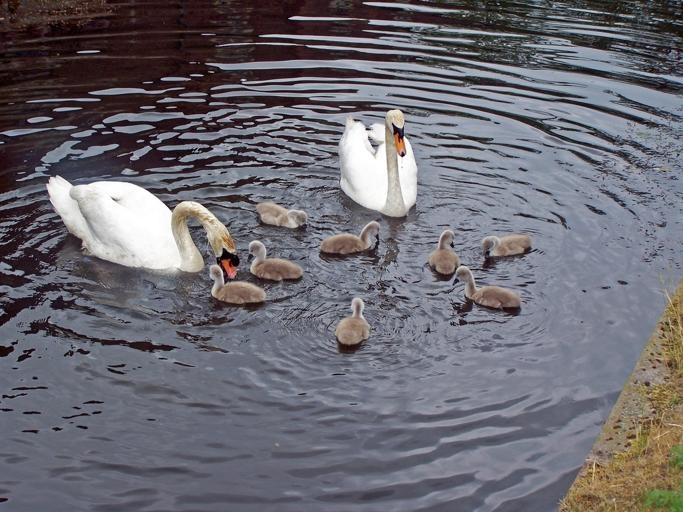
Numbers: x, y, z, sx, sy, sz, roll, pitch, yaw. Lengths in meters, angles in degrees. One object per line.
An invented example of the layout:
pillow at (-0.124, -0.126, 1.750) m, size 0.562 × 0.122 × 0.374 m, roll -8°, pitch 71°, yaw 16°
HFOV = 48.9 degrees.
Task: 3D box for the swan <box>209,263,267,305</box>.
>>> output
swan at (-1.666, 0.465, 12.055) m, size 0.935 × 0.423 × 1.139 m, roll -4°, pitch 22°, yaw -10°

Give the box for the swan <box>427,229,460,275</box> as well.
swan at (1.742, -0.071, 12.804) m, size 0.730 × 0.538 × 0.822 m, roll 2°, pitch 39°, yaw 3°

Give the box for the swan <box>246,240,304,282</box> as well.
swan at (-1.229, 0.087, 12.598) m, size 1.323 × 0.510 × 0.510 m, roll 11°, pitch 18°, yaw 17°

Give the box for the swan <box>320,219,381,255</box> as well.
swan at (0.283, -0.300, 13.244) m, size 1.247 × 0.398 × 0.506 m, roll -20°, pitch 46°, yaw -35°

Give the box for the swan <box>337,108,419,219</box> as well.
swan at (0.813, -1.917, 14.441) m, size 1.465 × 1.906 × 2.121 m, roll 1°, pitch 38°, yaw -13°

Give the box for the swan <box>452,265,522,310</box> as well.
swan at (2.275, 0.500, 12.279) m, size 1.451 × 0.588 × 0.505 m, roll 10°, pitch 27°, yaw 31°

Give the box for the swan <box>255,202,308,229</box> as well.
swan at (-1.097, -0.735, 13.598) m, size 1.069 × 0.310 × 0.328 m, roll 10°, pitch 62°, yaw 4°

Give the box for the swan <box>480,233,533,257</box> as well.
swan at (2.858, -0.193, 13.071) m, size 1.078 × 0.362 × 0.254 m, roll -3°, pitch 72°, yaw -8°

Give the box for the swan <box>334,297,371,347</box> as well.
swan at (0.211, 1.013, 11.211) m, size 0.512 × 0.437 × 0.727 m, roll 13°, pitch 35°, yaw 3°
